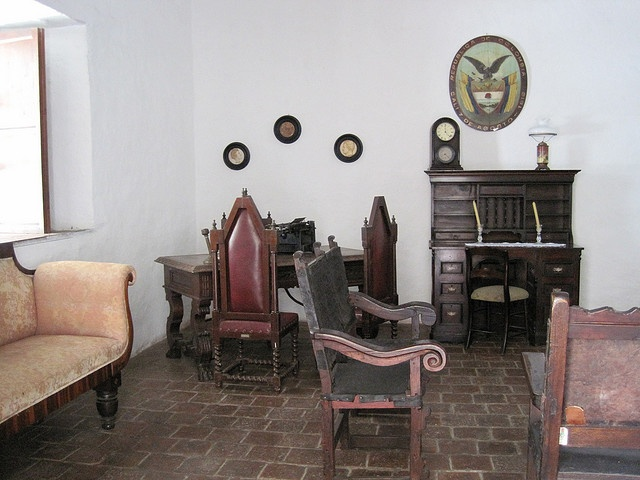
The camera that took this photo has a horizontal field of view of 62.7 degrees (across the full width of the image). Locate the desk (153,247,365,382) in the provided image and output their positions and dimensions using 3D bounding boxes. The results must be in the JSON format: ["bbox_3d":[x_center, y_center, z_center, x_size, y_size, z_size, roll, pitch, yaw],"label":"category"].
[{"bbox_3d":[-0.937,0.615,5.802,0.671,0.750,1.503,11,10,39],"label":"desk"}]

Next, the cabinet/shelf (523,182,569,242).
[{"bbox_3d":[2.806,-0.336,6.477,0.540,0.710,0.201,4,12,21],"label":"cabinet/shelf"}]

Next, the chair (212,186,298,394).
[{"bbox_3d":[-0.632,0.457,4.962,0.788,1.851,0.608,1,11,10],"label":"chair"}]

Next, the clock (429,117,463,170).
[{"bbox_3d":[1.557,-1.189,6.450,0.374,0.627,0.285,1,11,8],"label":"clock"}]

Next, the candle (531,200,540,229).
[{"bbox_3d":[2.642,-0.305,6.386,0.111,0.323,0.299,4,12,22],"label":"candle"}]

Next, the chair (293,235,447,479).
[{"bbox_3d":[0.316,0.810,3.643,0.922,1.565,0.941,-1,11,1],"label":"chair"}]

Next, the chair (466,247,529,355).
[{"bbox_3d":[2.071,0.587,6.056,0.696,1.165,1.124,4,12,23],"label":"chair"}]

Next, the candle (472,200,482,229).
[{"bbox_3d":[1.950,-0.310,6.448,0.123,0.344,0.284,1,11,10],"label":"candle"}]

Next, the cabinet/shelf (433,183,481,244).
[{"bbox_3d":[1.736,-0.357,6.575,0.724,0.984,0.283,0,2,4],"label":"cabinet/shelf"}]

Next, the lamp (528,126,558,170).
[{"bbox_3d":[2.741,-1.118,6.388,0.335,0.561,0.338,8,-5,-33],"label":"lamp"}]
